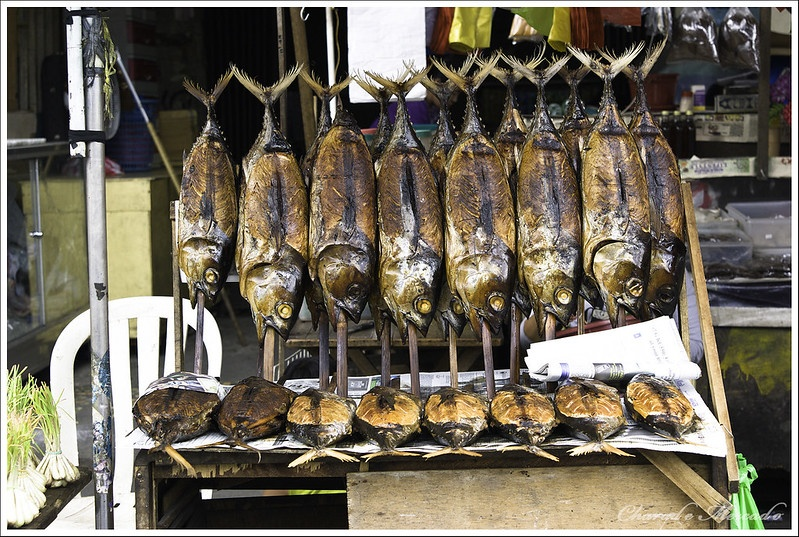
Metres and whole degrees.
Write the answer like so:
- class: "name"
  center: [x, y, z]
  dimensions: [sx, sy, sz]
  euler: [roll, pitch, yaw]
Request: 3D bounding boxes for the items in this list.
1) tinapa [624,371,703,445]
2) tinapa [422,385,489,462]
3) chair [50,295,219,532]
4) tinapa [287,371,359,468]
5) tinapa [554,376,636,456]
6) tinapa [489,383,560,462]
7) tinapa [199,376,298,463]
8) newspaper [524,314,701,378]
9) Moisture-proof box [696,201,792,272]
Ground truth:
- class: "tinapa"
  center: [1.430, 0.766, 6.156]
  dimensions: [0.339, 0.179, 0.536]
  euler: [-10, 32, -17]
- class: "tinapa"
  center: [0.310, 0.807, 6.043]
  dimensions: [0.245, 0.163, 0.418]
  euler: [-2, 54, 2]
- class: "chair"
  center: [-1.757, 0.906, 7.293]
  dimensions: [1.187, 2.001, 1.413]
  euler: [0, 4, -9]
- class: "tinapa"
  center: [-0.422, 0.852, 6.089]
  dimensions: [0.372, 0.317, 0.156]
  euler: [-5, 2, -2]
- class: "tinapa"
  center: [1.031, 0.787, 6.051]
  dimensions: [0.256, 0.197, 0.491]
  euler: [-1, 40, -3]
- class: "tinapa"
  center: [0.686, 0.804, 6.048]
  dimensions: [0.253, 0.145, 0.455]
  euler: [-8, 50, -10]
- class: "tinapa"
  center: [-0.795, 0.784, 6.176]
  dimensions: [0.285, 0.194, 0.539]
  euler: [15, 34, -1]
- class: "newspaper"
  center: [1.175, 0.474, 6.321]
  dimensions: [0.705, 0.219, 0.451]
  euler: [-9, 25, 4]
- class: "Moisture-proof box"
  center: [2.622, -0.260, 8.464]
  dimensions: [0.606, 0.217, 0.642]
  euler: [-3, 32, 7]
